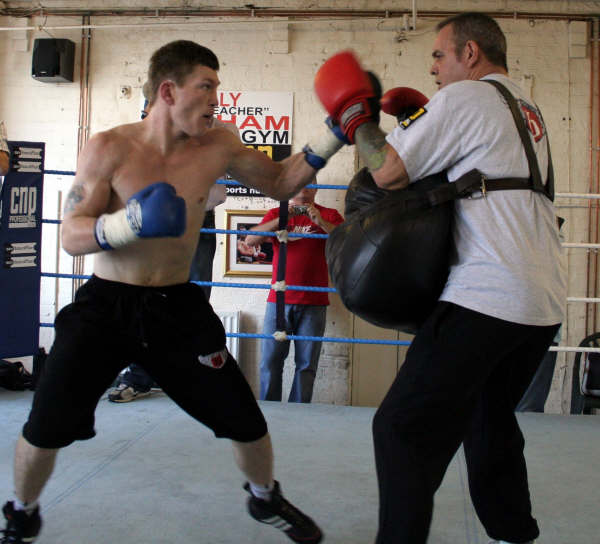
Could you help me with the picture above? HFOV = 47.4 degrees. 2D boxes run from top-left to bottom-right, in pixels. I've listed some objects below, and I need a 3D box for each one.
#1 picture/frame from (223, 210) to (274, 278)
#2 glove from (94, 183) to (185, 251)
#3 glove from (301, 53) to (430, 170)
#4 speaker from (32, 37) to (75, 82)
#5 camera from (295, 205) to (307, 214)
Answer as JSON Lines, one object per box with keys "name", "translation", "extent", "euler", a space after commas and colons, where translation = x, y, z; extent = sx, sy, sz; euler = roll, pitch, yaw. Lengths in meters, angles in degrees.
{"name": "picture/frame", "translation": [-0.316, -0.190, 4.285], "extent": [0.470, 0.472, 0.039], "euler": [0, -2, 2]}
{"name": "glove", "translation": [-0.408, -0.135, 1.807], "extent": [0.215, 0.094, 0.151], "euler": [-13, 23, 24]}
{"name": "glove", "translation": [0.175, -0.496, 2.045], "extent": [0.191, 0.261, 0.122], "euler": [-42, -21, 22]}
{"name": "speaker", "translation": [-1.592, -1.361, 4.407], "extent": [0.288, 0.264, 0.155], "euler": [1, -15, -6]}
{"name": "camera", "translation": [-0.002, -0.347, 3.808], "extent": [0.050, 0.043, 0.013], "euler": [0, -4, 2]}
